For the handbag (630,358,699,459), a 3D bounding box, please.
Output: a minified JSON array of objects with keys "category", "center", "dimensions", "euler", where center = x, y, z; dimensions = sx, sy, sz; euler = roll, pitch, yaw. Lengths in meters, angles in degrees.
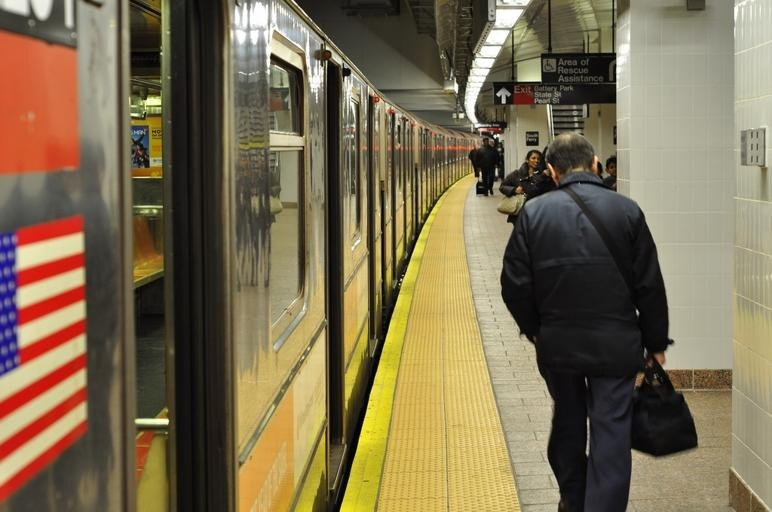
[{"category":"handbag","center":[1.405,0.751,3.377],"dimensions":[0.292,0.508,0.325],"euler":[-12,-7,-11]}]
